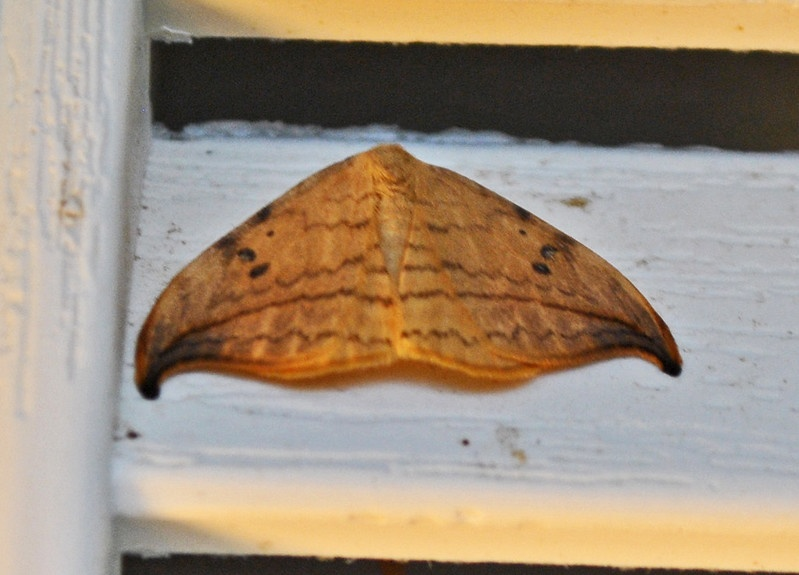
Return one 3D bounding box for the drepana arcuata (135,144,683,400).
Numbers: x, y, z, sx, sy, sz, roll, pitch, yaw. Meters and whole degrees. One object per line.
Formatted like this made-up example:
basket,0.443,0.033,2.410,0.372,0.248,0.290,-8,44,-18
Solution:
drepana arcuata,0.000,0.009,3.243,1.200,0.462,0.092,2,-2,2
